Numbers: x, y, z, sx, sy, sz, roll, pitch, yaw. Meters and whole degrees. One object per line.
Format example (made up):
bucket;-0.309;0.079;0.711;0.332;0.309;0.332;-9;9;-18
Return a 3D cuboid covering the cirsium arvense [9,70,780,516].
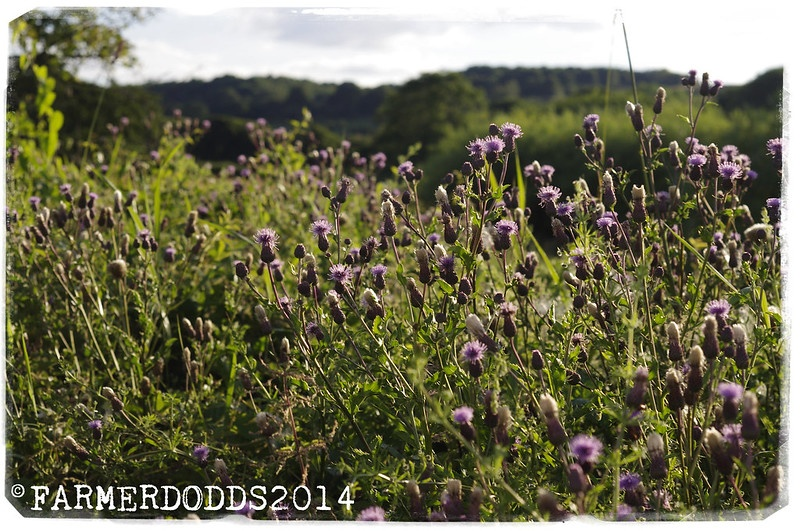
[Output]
cirsium arvense;-0.219;0.068;4.901;4.501;2.373;2.730;1;3;27
